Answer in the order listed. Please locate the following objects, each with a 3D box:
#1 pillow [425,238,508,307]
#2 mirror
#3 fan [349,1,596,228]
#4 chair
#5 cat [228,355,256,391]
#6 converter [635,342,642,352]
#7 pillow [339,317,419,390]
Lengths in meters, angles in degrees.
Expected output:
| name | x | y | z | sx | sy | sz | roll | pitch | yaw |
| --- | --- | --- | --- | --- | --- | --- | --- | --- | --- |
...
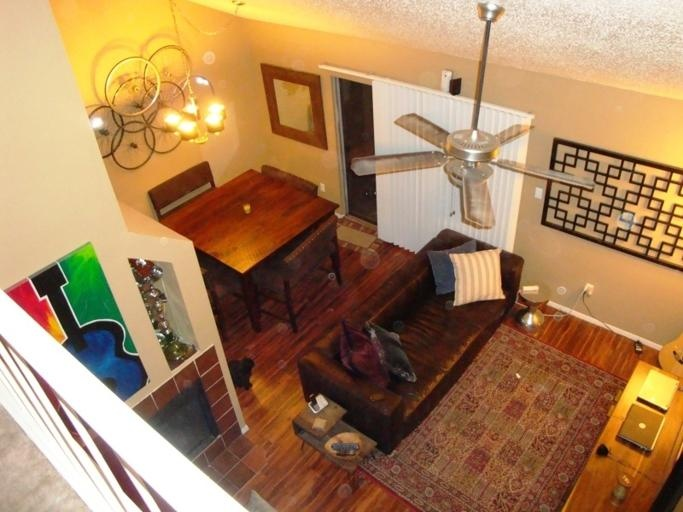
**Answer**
| name | x | y | z | sx | sy | sz | roll | pitch | yaw |
| --- | --- | --- | --- | --- | --- | --- | --- | --- | --- |
| pillow | 1.335 | 0.203 | 5.310 | 0.669 | 0.209 | 0.633 | -9 | 73 | -7 |
| mirror | -0.601 | -2.057 | 6.827 | 1.043 | 1.069 | 0.038 | 28 | 53 | 30 |
| fan | 0.757 | -0.864 | 3.465 | 1.494 | 1.009 | 1.365 | -33 | 59 | -32 |
| chair | -1.019 | -0.041 | 6.168 | 1.710 | 1.214 | 1.480 | 24 | 44 | 34 |
| cat | -1.070 | 1.263 | 5.481 | 0.235 | 0.085 | 0.363 | -10 | 51 | -9 |
| converter | 3.104 | 0.951 | 5.291 | 0.069 | 0.031 | 0.100 | 3 | 49 | 10 |
| pillow | 0.330 | 0.900 | 4.571 | 0.672 | 0.513 | 0.560 | -7 | 35 | -4 |
